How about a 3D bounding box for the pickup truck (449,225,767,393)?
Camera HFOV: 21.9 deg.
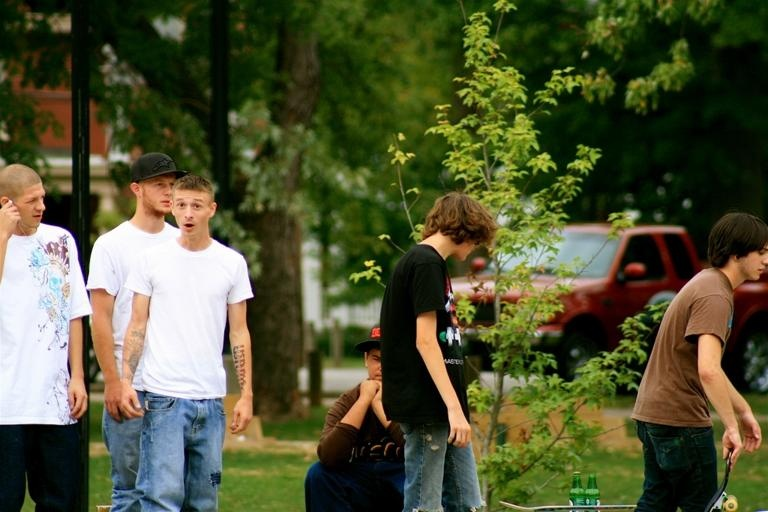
[{"bbox_3d":[4.009,0.704,30.291,4.432,1.912,2.541,5,-7,-39],"label":"pickup truck"}]
